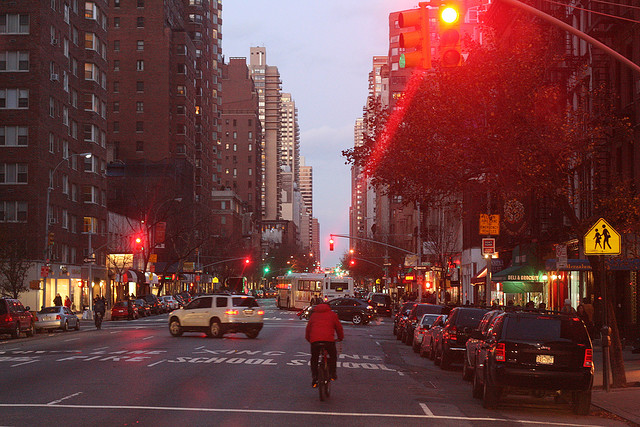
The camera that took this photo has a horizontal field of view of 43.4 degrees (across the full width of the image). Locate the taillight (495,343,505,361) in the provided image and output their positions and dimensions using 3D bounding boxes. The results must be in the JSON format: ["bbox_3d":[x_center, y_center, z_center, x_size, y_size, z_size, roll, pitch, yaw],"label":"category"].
[{"bbox_3d":[4.719,3.655,21.165,0.244,0.443,0.094,-5,-10,30],"label":"taillight"}]

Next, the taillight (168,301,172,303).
[{"bbox_3d":[-15.889,9.400,85.198,0.457,0.245,0.104,-4,2,-22],"label":"taillight"}]

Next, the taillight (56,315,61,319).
[{"bbox_3d":[-17.000,6.750,52.449,0.280,0.249,0.082,1,-9,-4],"label":"taillight"}]

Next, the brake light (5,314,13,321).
[{"bbox_3d":[-17.712,5.941,45.822,0.382,0.373,0.091,4,-4,-28],"label":"brake light"}]

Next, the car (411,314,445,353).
[{"bbox_3d":[5.105,5.161,37.362,1.232,1.323,3.026,1,7,7],"label":"car"}]

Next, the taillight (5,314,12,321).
[{"bbox_3d":[-17.675,5.943,45.898,0.126,0.377,0.478,-5,-11,27],"label":"taillight"}]

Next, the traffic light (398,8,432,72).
[{"bbox_3d":[2.358,-4.469,20.170,0.771,1.722,1.015,-1,-9,5],"label":"traffic light"}]

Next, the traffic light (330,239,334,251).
[{"bbox_3d":[1.058,2.856,74.282,0.221,0.944,0.373,2,-9,-9],"label":"traffic light"}]

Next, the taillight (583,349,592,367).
[{"bbox_3d":[6.958,3.785,21.018,0.281,0.452,0.049,5,-10,-28],"label":"taillight"}]

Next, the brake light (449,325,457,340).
[{"bbox_3d":[4.786,4.294,29.026,0.113,0.511,0.369,8,-12,-40],"label":"brake light"}]

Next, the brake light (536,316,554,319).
[{"bbox_3d":[5.947,2.760,21.320,0.399,0.071,0.052,-3,-10,15],"label":"brake light"}]

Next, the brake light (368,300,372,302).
[{"bbox_3d":[4.291,7.612,69.938,0.337,0.220,0.221,0,-8,-4],"label":"brake light"}]

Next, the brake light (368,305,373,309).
[{"bbox_3d":[3.607,6.777,58.387,0.332,0.124,0.333,2,12,-18],"label":"brake light"}]

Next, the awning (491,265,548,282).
[{"bbox_3d":[13.110,3.945,53.304,2.629,1.494,4.295,1,-11,-7],"label":"awning"}]

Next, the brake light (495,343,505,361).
[{"bbox_3d":[4.720,3.655,21.165,0.242,0.443,0.094,-5,-10,30],"label":"brake light"}]

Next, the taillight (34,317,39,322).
[{"bbox_3d":[-18.388,6.913,52.412,0.232,0.453,0.240,1,-5,-5],"label":"taillight"}]

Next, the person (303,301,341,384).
[{"bbox_3d":[0.337,3.396,23.465,1.100,2.168,1.111,-8,15,-9],"label":"person"}]

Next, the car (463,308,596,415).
[{"bbox_3d":[5.436,4.041,22.375,2.384,2.961,3.705,3,-11,-19],"label":"car"}]

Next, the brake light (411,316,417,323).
[{"bbox_3d":[4.698,5.304,40.330,0.200,0.362,0.357,1,-3,-12],"label":"brake light"}]

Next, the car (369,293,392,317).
[{"bbox_3d":[5.449,8.045,71.057,1.384,1.329,2.521,1,0,1],"label":"car"}]

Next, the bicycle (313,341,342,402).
[{"bbox_3d":[0.166,4.488,22.671,0.649,1.583,2.430,-1,-3,-2],"label":"bicycle"}]

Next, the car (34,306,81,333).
[{"bbox_3d":[-17.332,6.992,53.248,1.654,1.628,2.924,-7,-13,33],"label":"car"}]

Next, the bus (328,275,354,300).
[{"bbox_3d":[1.909,6.912,75.663,2.333,2.178,2.350,0,-10,-1],"label":"bus"}]

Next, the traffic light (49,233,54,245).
[{"bbox_3d":[-19.969,1.852,59.989,0.292,0.739,0.721,4,-11,-26],"label":"traffic light"}]

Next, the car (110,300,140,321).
[{"bbox_3d":[-16.807,8.394,69.236,2.183,1.822,2.197,2,-11,-14],"label":"car"}]

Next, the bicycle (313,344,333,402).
[{"bbox_3d":[0.109,4.404,22.245,0.473,1.558,1.168,0,-10,0],"label":"bicycle"}]

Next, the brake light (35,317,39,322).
[{"bbox_3d":[-18.401,6.906,52.441,0.207,0.396,0.211,1,-6,-12],"label":"brake light"}]

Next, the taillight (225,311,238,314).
[{"bbox_3d":[-4.615,5.190,42.107,0.611,0.135,0.143,2,-10,-12],"label":"taillight"}]
